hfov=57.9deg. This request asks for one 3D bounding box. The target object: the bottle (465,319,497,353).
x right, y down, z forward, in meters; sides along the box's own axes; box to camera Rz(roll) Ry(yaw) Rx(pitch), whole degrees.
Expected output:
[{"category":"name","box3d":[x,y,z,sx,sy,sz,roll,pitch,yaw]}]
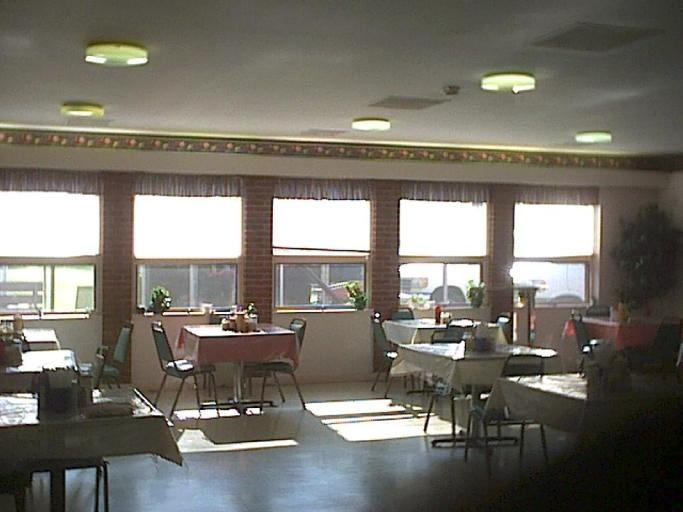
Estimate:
[{"category":"bottle","box3d":[1.159,0.654,5.161,0.272,0.282,0.208,2,-4,-22]}]

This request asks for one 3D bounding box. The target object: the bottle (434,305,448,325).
[{"category":"bottle","box3d":[1.156,0.680,7.170,0.176,0.327,0.187,0,3,0]}]

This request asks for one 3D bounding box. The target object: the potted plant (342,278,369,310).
[{"category":"potted plant","box3d":[0.184,0.458,7.666,0.180,0.362,0.232,-16,7,-35]}]

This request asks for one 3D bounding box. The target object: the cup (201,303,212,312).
[{"category":"cup","box3d":[-1.575,0.605,7.238,0.104,0.101,0.099,0,-7,0]}]

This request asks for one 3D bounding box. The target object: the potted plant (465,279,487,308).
[{"category":"potted plant","box3d":[1.698,0.480,7.800,0.130,0.295,0.290,-4,7,-36]}]

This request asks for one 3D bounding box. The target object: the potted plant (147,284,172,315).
[{"category":"potted plant","box3d":[-2.071,0.503,7.080,0.224,0.302,0.103,-2,4,-37]}]

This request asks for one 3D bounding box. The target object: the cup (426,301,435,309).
[{"category":"cup","box3d":[1.121,0.623,7.766,0.083,0.059,0.085,0,-4,0]}]

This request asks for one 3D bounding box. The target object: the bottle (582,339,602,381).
[{"category":"bottle","box3d":[1.339,0.557,3.347,0.063,0.184,0.138,9,9,21]}]
